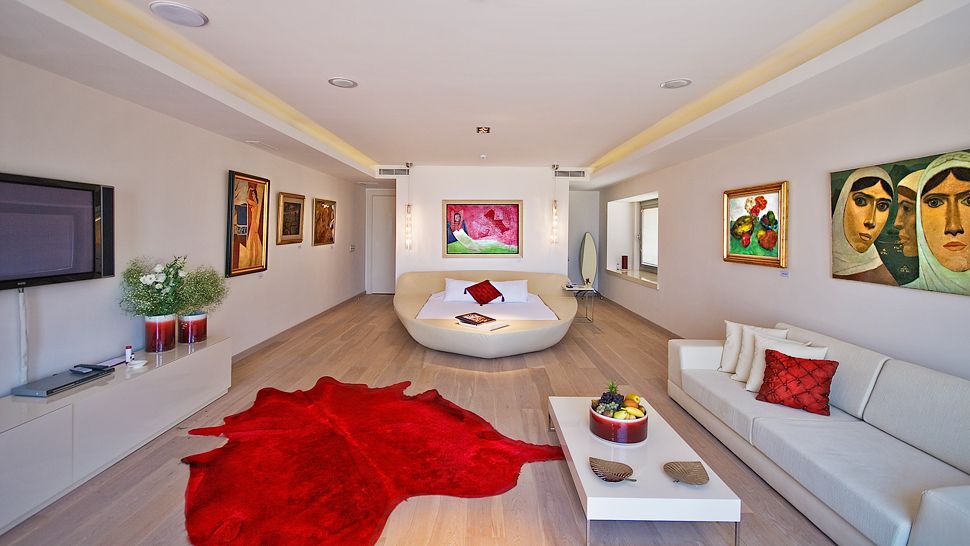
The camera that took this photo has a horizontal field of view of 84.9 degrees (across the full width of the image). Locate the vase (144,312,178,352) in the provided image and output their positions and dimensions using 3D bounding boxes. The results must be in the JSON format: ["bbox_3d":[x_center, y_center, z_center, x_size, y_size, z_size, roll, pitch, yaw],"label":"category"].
[{"bbox_3d":[-3.469,0.623,5.613,0.351,0.329,0.312,-1,1,-17],"label":"vase"}]

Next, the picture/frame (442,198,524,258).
[{"bbox_3d":[-0.050,-0.804,8.851,1.138,0.713,0.039,1,7,0],"label":"picture/frame"}]

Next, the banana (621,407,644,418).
[{"bbox_3d":[1.333,1.238,4.739,0.158,0.047,0.075,12,17,18],"label":"banana"}]

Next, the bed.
[{"bbox_3d":[0.093,0.550,7.930,2.821,0.801,2.435,-2,11,-8],"label":"bed"}]

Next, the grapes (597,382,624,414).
[{"bbox_3d":[1.157,1.122,4.857,0.255,0.223,0.288,-4,31,22],"label":"grapes"}]

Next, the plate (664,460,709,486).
[{"bbox_3d":[1.693,1.670,4.459,0.366,0.122,0.230,0,11,0],"label":"plate"}]

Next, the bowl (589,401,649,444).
[{"bbox_3d":[1.241,1.432,4.923,0.517,0.214,0.483,1,-6,0],"label":"bowl"}]

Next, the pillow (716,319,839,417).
[{"bbox_3d":[2.918,0.928,5.210,0.802,0.751,0.244,17,-9,45],"label":"pillow"}]

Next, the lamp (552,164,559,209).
[{"bbox_3d":[1.179,-1.424,8.814,0.112,0.710,0.197,1,13,6],"label":"lamp"}]

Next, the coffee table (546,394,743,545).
[{"bbox_3d":[1.344,1.737,4.800,1.272,0.756,1.356,-2,12,-8],"label":"coffee table"}]

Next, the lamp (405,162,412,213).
[{"bbox_3d":[-1.263,-1.369,8.781,0.133,0.865,0.184,-2,13,-6],"label":"lamp"}]

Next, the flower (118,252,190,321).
[{"bbox_3d":[-3.442,0.126,5.698,0.821,0.729,0.575,1,0,-4],"label":"flower"}]

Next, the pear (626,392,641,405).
[{"bbox_3d":[1.356,1.134,4.824,0.104,0.085,0.096,-3,14,4],"label":"pear"}]

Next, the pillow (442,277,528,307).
[{"bbox_3d":[0.121,0.295,8.447,1.279,0.362,0.318,1,-12,-2],"label":"pillow"}]
